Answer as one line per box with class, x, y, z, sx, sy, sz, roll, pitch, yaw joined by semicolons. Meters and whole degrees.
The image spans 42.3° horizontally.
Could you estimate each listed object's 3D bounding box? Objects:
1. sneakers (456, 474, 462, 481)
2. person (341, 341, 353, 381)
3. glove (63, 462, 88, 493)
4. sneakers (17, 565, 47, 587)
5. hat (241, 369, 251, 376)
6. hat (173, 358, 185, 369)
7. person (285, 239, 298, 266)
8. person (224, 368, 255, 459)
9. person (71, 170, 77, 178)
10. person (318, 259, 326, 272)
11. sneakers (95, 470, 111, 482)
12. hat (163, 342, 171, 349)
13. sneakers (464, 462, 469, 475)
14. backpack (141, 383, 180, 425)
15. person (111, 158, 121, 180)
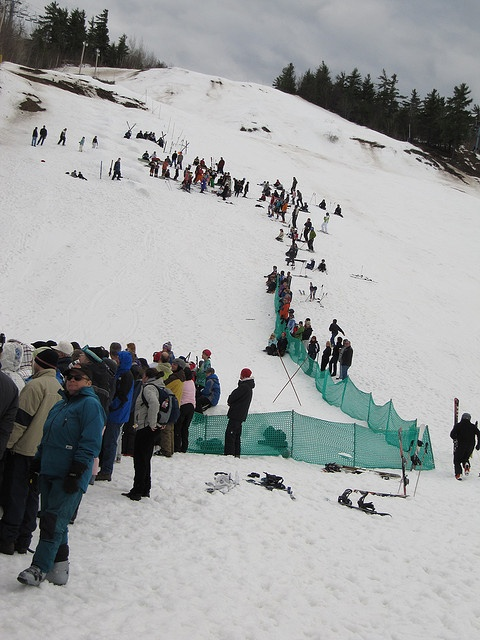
sneakers;4.169;2.995;11.835;0.090;0.045;0.112;6;4;9
person;3.028;1.161;17.850;0.339;0.953;0.641;13;6;9
glove;-1.340;1.284;5.061;0.162;0.280;0.142;11;6;-14
sneakers;-1.668;2.063;4.962;0.125;0.117;0.259;6;-7;-3
hat;0.118;0.877;10.350;0.117;0.151;0.147;3;23;-28
hat;-0.932;0.671;9.642;0.120;0.129;0.167;31;-9;34
person;2.316;-2.965;27.748;0.494;0.870;1.564;13;6;2
person;-0.047;1.555;10.326;0.387;1.136;0.682;13;6;3
person;-7.849;-6.911;29.499;0.312;0.386;0.927;11;6;-17
person;3.733;-2.410;27.964;0.444;0.473;1.000;13;6;6
sneakers;-1.722;1.982;7.921;0.179;0.179;0.088;13;3;1
hat;-1.447;0.511;12.340;0.108;0.132;0.152;23;-8;8
sneakers;4.396;2.890;12.028;0.079;0.253;0.105;-1;-23;13
backpack;-0.908;1.058;7.744;0.574;0.586;0.431;-1;0;-2
person;-6.094;-7.493;31.114;0.516;1.119;2.063;11;6;-14
